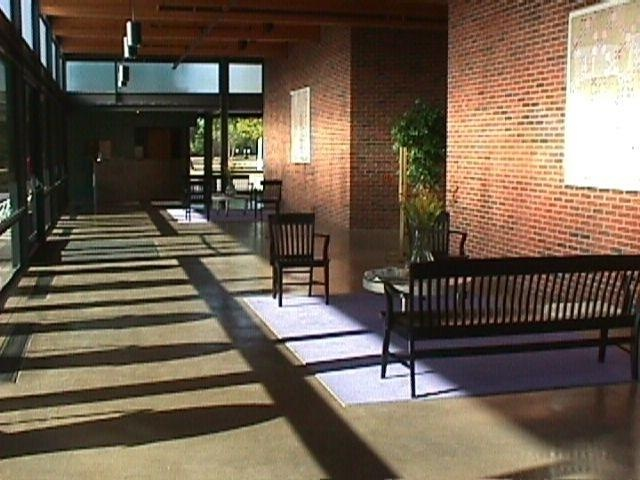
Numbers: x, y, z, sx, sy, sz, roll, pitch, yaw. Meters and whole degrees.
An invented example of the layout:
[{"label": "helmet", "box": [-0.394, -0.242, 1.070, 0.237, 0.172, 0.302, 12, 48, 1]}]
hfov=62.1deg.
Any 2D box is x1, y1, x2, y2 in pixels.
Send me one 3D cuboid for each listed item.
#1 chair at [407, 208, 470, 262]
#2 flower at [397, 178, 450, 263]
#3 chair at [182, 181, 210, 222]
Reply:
[{"label": "chair", "box": [1.517, -0.062, 6.626, 0.655, 1.050, 0.671, -1, 1, -9]}, {"label": "flower", "box": [1.106, -0.057, 5.164, 0.297, 0.654, 0.355, 16, 2, -26]}, {"label": "chair", "box": [-3.778, -1.213, 16.492, 0.741, 1.499, 0.837, 1, -2, -14]}]
